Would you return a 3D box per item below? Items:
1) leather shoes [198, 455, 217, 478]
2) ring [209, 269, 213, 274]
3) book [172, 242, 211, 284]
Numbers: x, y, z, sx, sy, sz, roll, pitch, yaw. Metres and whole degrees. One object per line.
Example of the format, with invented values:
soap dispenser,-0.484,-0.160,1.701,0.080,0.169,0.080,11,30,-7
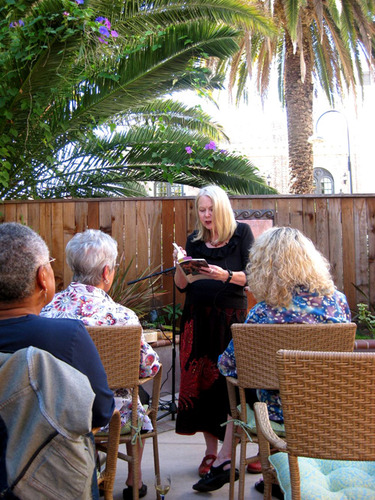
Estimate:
leather shoes,0.112,1.246,2.843,0.065,0.060,0.180,-3,3,11
ring,0.128,0.114,2.720,0.024,0.027,0.011,-3,4,6
book,0.015,0.066,2.848,0.221,0.098,0.254,1,-36,16
